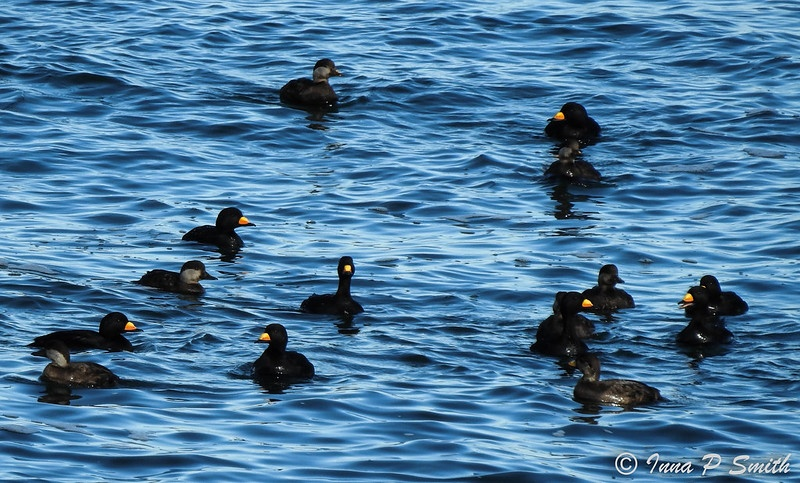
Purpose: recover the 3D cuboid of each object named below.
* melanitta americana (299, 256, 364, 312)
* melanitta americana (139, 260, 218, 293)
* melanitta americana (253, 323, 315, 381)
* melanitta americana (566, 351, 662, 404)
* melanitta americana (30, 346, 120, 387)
[{"bbox_3d":[-1.332,1.071,20.802,1.235,1.276,2.324,3,-8,-23],"label":"melanitta americana"},{"bbox_3d":[-4.360,0.706,20.683,1.961,0.473,0.559,3,18,1],"label":"melanitta americana"},{"bbox_3d":[-2.144,1.907,18.185,1.442,0.738,1.516,2,-6,17],"label":"melanitta americana"},{"bbox_3d":[3.671,2.374,17.477,2.066,0.665,0.848,7,18,-10],"label":"melanitta americana"},{"bbox_3d":[-5.359,2.138,16.924,1.180,0.769,0.679,35,-16,25],"label":"melanitta americana"}]
